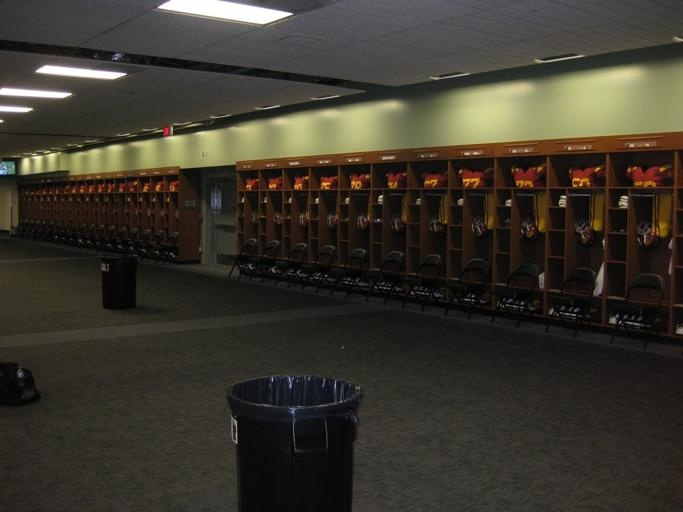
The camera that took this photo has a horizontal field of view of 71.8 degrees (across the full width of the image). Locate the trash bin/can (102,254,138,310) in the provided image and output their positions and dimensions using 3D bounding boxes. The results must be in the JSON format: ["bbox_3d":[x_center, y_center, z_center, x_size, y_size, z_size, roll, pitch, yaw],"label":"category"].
[{"bbox_3d":[-4.158,0.493,8.844,0.594,0.963,0.482,-2,6,-21],"label":"trash bin/can"}]
